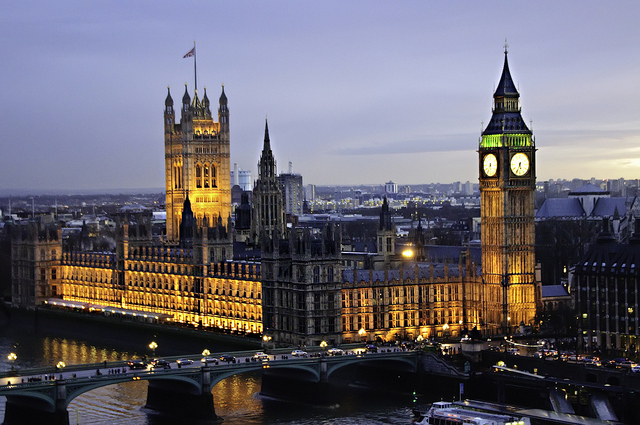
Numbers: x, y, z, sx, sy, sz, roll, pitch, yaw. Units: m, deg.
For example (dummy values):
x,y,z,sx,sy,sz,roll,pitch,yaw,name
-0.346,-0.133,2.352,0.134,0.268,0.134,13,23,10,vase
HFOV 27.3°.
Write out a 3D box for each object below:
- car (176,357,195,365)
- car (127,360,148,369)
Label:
x,y,z,sx,sy,sz,roll,pitch,yaw,name
-20.837,23.384,206.784,1.855,0.799,1.174,-3,2,-2,car
-28.051,23.480,203.411,2.497,1.170,2.210,-2,0,-20,car
